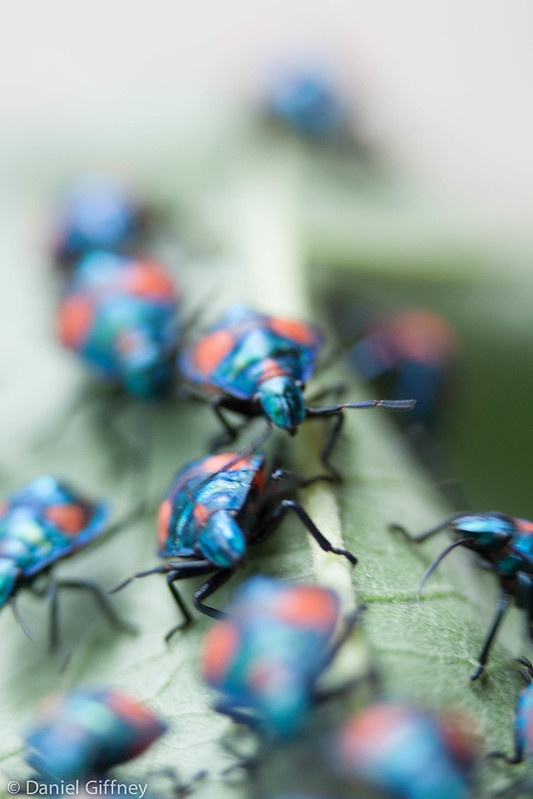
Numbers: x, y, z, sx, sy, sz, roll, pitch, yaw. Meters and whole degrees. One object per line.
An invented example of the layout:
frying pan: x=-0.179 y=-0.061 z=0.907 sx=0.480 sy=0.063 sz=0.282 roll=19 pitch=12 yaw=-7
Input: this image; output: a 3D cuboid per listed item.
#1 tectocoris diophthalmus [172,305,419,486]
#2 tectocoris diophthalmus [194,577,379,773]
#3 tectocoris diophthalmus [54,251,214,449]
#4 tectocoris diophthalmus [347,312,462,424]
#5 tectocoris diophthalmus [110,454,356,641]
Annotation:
tectocoris diophthalmus: x=-0.014 y=-0.043 z=1.181 sx=0.268 sy=0.084 sz=0.289 roll=-14 pitch=45 yaw=-14
tectocoris diophthalmus: x=0.012 y=0.229 z=0.725 sx=0.152 sy=0.089 sz=0.159 roll=37 pitch=61 yaw=27
tectocoris diophthalmus: x=-0.215 y=-0.098 z=1.315 sx=0.201 sy=0.092 sz=0.261 roll=-25 pitch=49 yaw=6
tectocoris diophthalmus: x=0.215 y=-0.038 z=1.214 sx=0.162 sy=0.040 sz=0.169 roll=33 pitch=91 yaw=25
tectocoris diophthalmus: x=-0.068 y=0.147 z=0.947 sx=0.192 sy=0.080 sz=0.247 roll=-32 pitch=14 yaw=6
